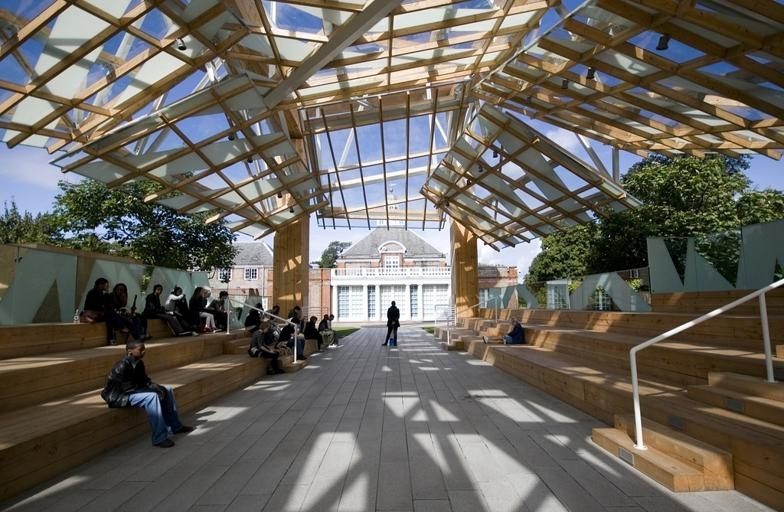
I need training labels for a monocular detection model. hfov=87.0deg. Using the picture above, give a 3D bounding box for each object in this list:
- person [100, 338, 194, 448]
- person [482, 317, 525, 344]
[{"bbox_3d":[-3.868,2.108,6.447,1.036,1.555,0.509,-1,-2,-4],"label":"person"},{"bbox_3d":[3.501,2.463,12.793,1.129,0.534,1.372,1,-8,2],"label":"person"}]
